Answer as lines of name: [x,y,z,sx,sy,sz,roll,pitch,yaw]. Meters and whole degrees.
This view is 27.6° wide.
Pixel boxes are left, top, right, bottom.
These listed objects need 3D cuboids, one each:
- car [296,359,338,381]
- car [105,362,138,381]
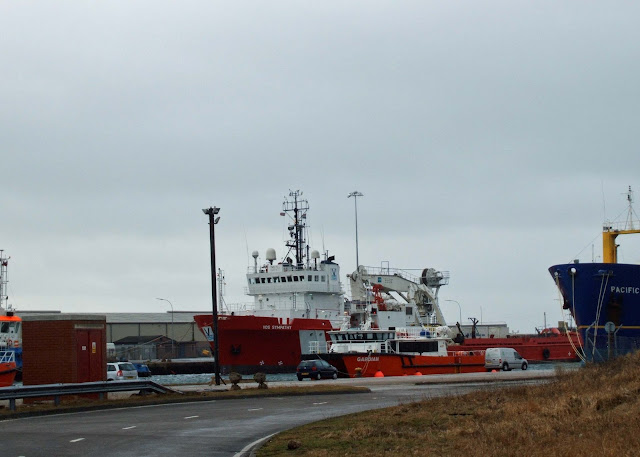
car: [-0.115,7.766,71.011,1.515,1.171,2.495,-9,-11,33]
car: [-9.967,7.133,65.005,1.196,1.007,3.452,-3,-9,-4]
